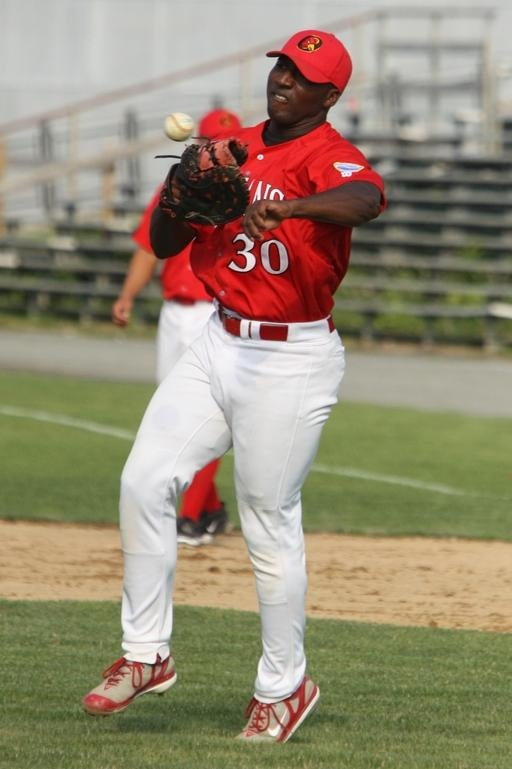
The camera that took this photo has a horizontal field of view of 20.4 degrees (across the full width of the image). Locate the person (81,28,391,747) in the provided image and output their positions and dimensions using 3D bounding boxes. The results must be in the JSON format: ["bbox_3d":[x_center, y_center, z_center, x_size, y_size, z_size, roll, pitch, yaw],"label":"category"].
[{"bbox_3d":[-0.033,-0.007,3.331,0.629,1.650,0.474,2,9,6],"label":"person"}]

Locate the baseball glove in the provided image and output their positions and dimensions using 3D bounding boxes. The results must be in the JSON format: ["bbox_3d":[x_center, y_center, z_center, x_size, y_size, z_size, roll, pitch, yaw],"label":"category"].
[{"bbox_3d":[-0.125,-0.430,3.399,0.181,0.270,0.090,46,28,16],"label":"baseball glove"}]

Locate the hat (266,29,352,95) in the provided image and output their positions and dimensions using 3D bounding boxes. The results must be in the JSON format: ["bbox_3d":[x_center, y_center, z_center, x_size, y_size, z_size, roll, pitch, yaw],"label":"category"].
[{"bbox_3d":[0.134,-0.755,3.339,0.128,0.099,0.171,33,3,39],"label":"hat"}]

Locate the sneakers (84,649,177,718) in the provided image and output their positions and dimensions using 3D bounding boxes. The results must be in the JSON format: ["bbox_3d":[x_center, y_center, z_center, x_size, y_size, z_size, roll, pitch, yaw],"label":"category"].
[{"bbox_3d":[-0.308,0.694,3.368,0.243,0.129,0.095,-19,28,-38],"label":"sneakers"}]
